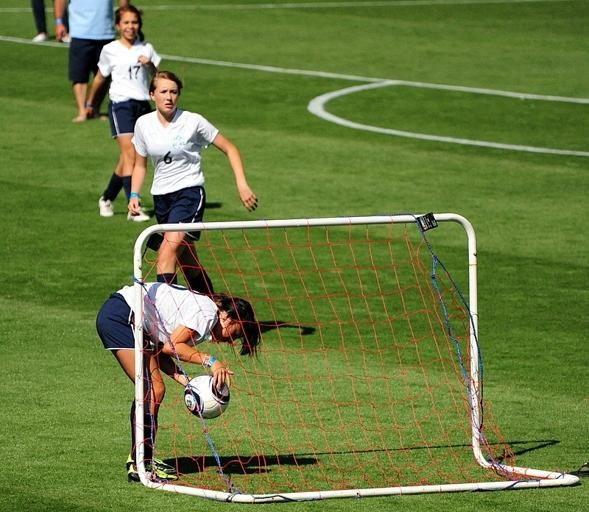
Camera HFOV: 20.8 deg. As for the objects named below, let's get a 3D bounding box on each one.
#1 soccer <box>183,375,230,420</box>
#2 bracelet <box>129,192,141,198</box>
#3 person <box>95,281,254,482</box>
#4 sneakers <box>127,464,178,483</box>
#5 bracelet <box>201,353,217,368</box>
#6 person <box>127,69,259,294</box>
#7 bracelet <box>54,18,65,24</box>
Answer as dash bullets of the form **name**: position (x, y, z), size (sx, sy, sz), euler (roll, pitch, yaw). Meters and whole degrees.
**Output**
- **soccer**: position (-0.710, 1.193, 13.409), size (0.281, 0.399, 0.381), euler (-2, 48, 2)
- **bracelet**: position (-1.469, -0.567, 14.910), size (0.066, 0.035, 0.092), euler (2, 4, 2)
- **person**: position (-0.990, 1.033, 13.521), size (1.309, 1.525, 0.815), euler (0, 22, -7)
- **sneakers**: position (-1.168, 1.832, 13.405), size (0.459, 0.209, 0.158), euler (0, 13, -4)
- **bracelet**: position (-0.693, 0.874, 13.277), size (0.088, 0.104, 0.084), euler (4, 33, -6)
- **person**: position (-1.004, -0.534, 14.926), size (1.029, 2.385, 1.122), euler (0, 22, -8)
- **bracelet**: position (-3.275, -3.277, 22.440), size (0.137, 0.107, 0.141), euler (2, 4, 21)
